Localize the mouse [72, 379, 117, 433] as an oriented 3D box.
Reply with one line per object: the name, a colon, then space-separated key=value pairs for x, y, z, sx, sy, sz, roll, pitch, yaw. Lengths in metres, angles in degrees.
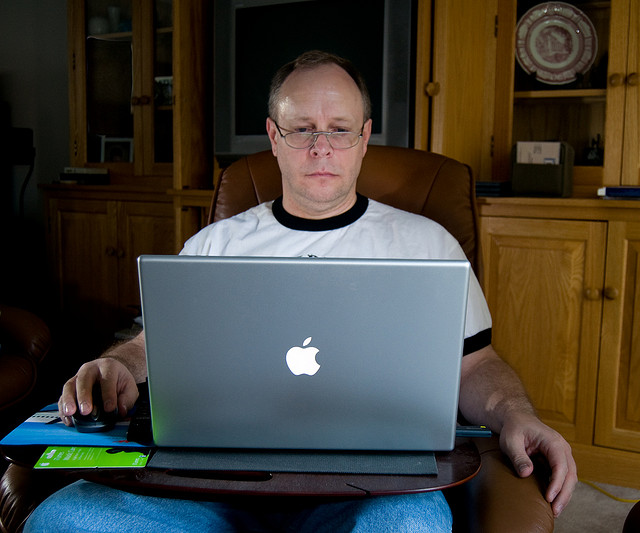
mouse: x=-0.397 y=0.241 z=0.977 sx=0.077 sy=0.050 sz=0.141 roll=1 pitch=10 yaw=-23

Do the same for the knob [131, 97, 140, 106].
knob: x=-0.960 y=-0.862 z=2.879 sx=0.032 sy=0.035 sz=0.032 roll=-4 pitch=14 yaw=6

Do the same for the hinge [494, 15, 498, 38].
hinge: x=0.674 y=-0.919 z=2.112 sx=0.018 sy=0.080 sz=0.004 roll=-3 pitch=8 yaw=-39

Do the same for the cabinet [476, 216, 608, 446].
cabinet: x=0.905 y=0.136 z=2.249 sx=0.497 sy=0.923 sz=0.510 roll=7 pitch=32 yaw=32

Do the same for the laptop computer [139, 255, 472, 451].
laptop computer: x=-0.037 y=0.097 z=0.725 sx=0.414 sy=0.286 sz=0.303 roll=0 pitch=11 yaw=3

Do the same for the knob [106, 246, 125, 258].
knob: x=-1.116 y=-0.080 z=3.014 sx=0.130 sy=0.059 sz=0.022 roll=6 pitch=7 yaw=31

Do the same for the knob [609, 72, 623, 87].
knob: x=1.054 y=-0.666 z=1.964 sx=0.041 sy=0.043 sz=0.023 roll=-18 pitch=-13 yaw=26

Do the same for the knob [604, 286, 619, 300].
knob: x=1.011 y=0.091 z=1.914 sx=0.043 sy=0.039 sz=0.025 roll=21 pitch=-27 yaw=8

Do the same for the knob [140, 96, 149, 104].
knob: x=-0.910 y=-0.864 z=2.865 sx=0.055 sy=0.037 sz=0.012 roll=5 pitch=7 yaw=24
